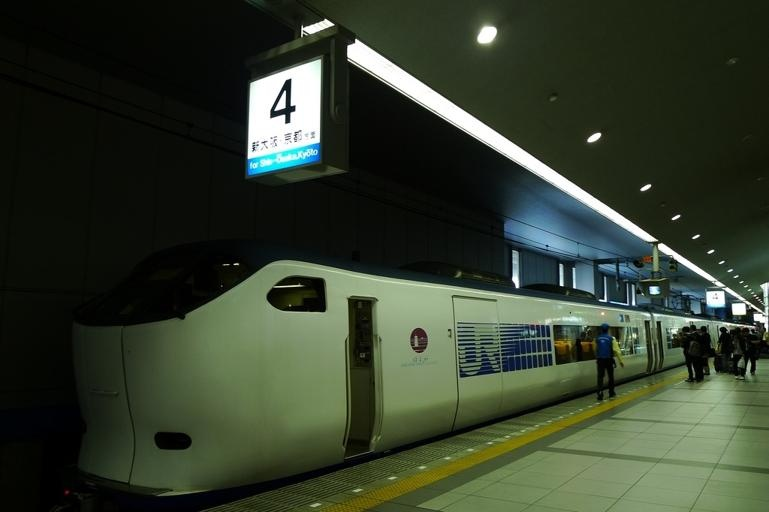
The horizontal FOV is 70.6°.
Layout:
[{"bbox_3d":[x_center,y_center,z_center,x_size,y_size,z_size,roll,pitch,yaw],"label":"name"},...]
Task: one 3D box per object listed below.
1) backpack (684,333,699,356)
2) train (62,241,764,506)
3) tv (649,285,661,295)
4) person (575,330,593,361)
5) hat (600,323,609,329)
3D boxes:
[{"bbox_3d":[9.407,2.734,16.616,0.437,0.669,0.367,-20,-19,26],"label":"backpack"},{"bbox_3d":[3.628,2.318,14.510,2.769,3.331,20.617,-6,-9,35],"label":"train"},{"bbox_3d":[9.791,1.248,19.665,0.327,0.345,0.082,6,15,29],"label":"tv"},{"bbox_3d":[5.357,2.419,14.516,0.734,0.672,0.771,-1,2,22],"label":"person"},{"bbox_3d":[5.680,1.817,14.055,0.233,0.132,0.233,1,-7,-11],"label":"hat"}]
